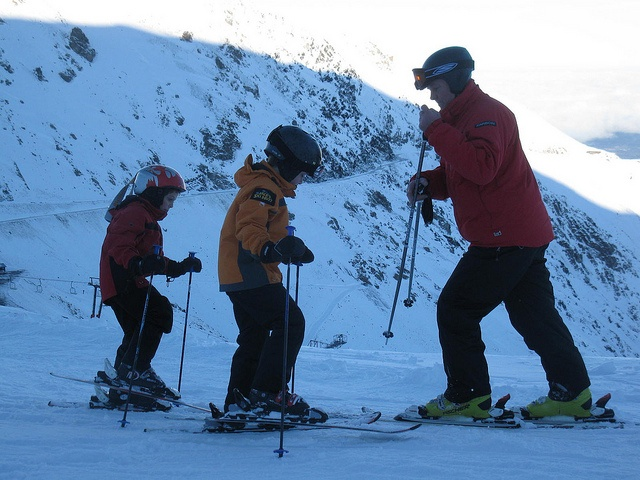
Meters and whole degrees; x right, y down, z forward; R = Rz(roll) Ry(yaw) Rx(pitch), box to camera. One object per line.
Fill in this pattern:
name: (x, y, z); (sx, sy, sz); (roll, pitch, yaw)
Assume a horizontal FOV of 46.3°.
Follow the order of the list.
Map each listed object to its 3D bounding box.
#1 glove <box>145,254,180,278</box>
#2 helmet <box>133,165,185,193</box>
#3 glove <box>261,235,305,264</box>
glove: (-2.255, 0.402, 10.830); (0.286, 0.413, 0.594); (5, 7, 27)
helmet: (-2.435, -0.908, 11.239); (0.620, 0.391, 0.450); (10, 2, -9)
glove: (-0.488, 0.169, 9.889); (0.426, 0.205, 0.438); (-14, -21, 28)
